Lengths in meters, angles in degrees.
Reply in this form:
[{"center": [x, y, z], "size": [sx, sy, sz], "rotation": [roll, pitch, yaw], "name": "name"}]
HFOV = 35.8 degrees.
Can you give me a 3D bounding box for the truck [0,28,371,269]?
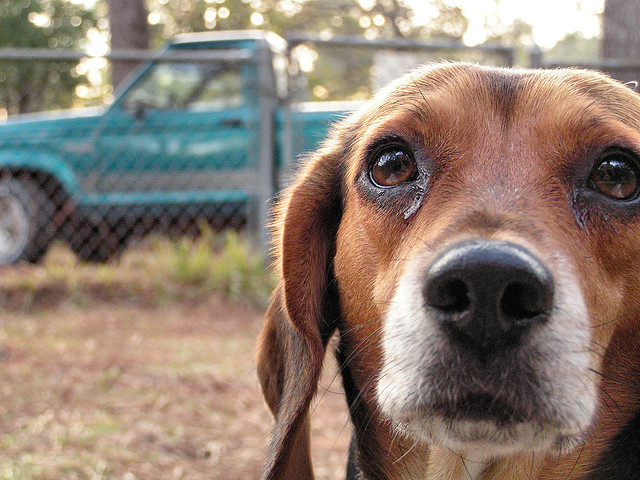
[{"center": [-1.487, -1.001, 9.640], "size": [3.373, 1.956, 2.097], "rotation": [2, -5, -1], "name": "truck"}]
